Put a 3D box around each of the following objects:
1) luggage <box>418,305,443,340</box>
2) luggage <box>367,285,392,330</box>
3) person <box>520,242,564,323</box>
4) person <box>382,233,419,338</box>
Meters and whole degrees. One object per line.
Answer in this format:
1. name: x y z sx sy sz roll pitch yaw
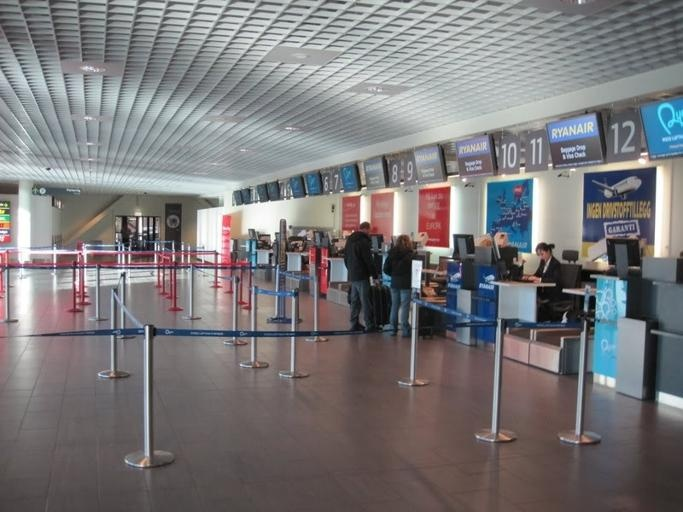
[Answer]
1. luggage: 1.497 1.107 8.809 0.622 0.543 0.313 -2 6 -41
2. luggage: 0.525 0.731 8.118 0.412 0.567 0.369 2 -7 -17
3. person: 3.524 0.542 8.969 0.701 1.528 0.613 -13 11 -12
4. person: 0.906 0.500 8.573 0.473 1.661 1.045 2 5 5
